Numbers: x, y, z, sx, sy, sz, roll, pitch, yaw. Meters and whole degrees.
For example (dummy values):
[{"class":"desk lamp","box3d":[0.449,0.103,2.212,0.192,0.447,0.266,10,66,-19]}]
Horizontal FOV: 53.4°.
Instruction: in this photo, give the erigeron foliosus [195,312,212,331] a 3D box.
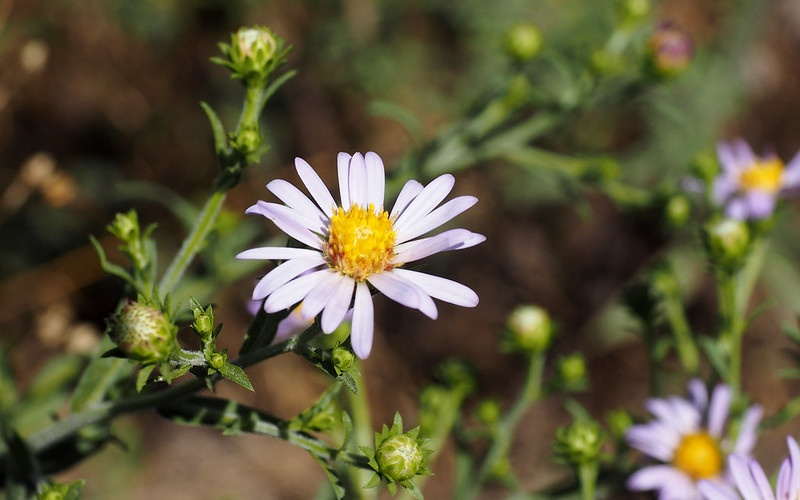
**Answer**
[{"class":"erigeron foliosus","box3d":[-1.096,0.398,4.412,0.097,0.103,0.050,-2,12,-16]}]
